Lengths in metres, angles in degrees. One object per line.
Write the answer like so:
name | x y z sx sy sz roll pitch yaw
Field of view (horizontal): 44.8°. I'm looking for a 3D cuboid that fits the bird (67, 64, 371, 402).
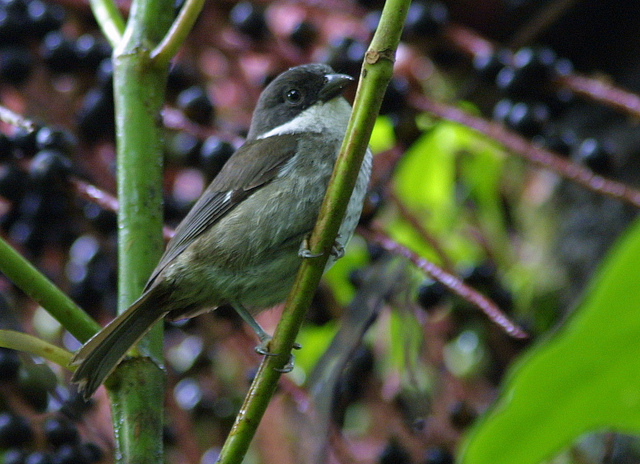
bird | -0.351 -0.037 3.312 1.017 1.778 0.624 5 -34 -9
